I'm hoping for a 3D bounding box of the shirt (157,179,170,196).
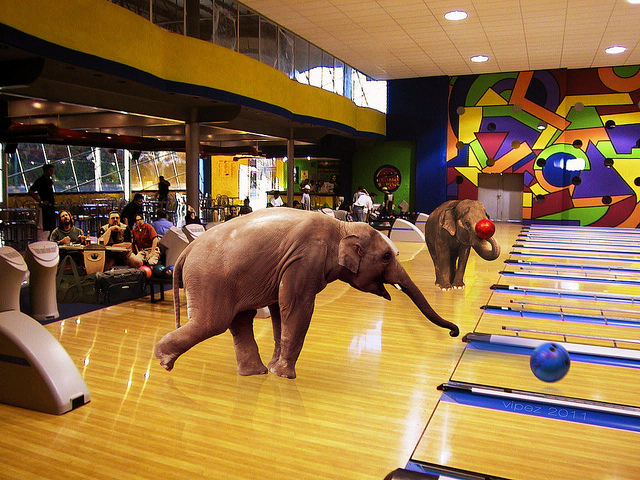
[{"bbox_3d":[-4.600,-1.533,14.458,0.273,0.458,0.688,-2,9,-19],"label":"shirt"}]

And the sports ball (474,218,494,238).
[{"bbox_3d":[2.229,-0.145,6.618,0.244,0.243,0.316,3,8,19],"label":"sports ball"}]

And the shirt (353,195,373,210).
[{"bbox_3d":[1.398,-1.215,15.402,0.612,0.425,0.671,4,24,16],"label":"shirt"}]

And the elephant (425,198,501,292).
[{"bbox_3d":[2.129,0.060,7.440,0.685,1.446,1.600,-2,5,-18],"label":"elephant"}]

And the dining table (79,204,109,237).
[{"bbox_3d":[-6.855,-0.609,14.813,0.764,0.939,0.735,2,18,-5],"label":"dining table"}]

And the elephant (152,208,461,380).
[{"bbox_3d":[-0.179,0.445,4.523,2.418,1.631,0.929,2,12,-12],"label":"elephant"}]

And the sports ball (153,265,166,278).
[{"bbox_3d":[-2.323,0.460,7.083,0.142,0.212,0.159,1,0,6],"label":"sports ball"}]

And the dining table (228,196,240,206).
[{"bbox_3d":[-4.346,-2.107,24.743,0.381,0.363,3.774,-1,9,-8],"label":"dining table"}]

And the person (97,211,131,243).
[{"bbox_3d":[-3.643,-0.146,8.696,0.497,0.760,0.757,-5,12,-37],"label":"person"}]

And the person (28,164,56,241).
[{"bbox_3d":[-5.855,-0.888,10.351,0.443,1.415,1.180,-4,9,-31],"label":"person"}]

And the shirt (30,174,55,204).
[{"bbox_3d":[-5.785,-1.071,10.410,0.669,0.699,0.252,-11,10,-42],"label":"shirt"}]

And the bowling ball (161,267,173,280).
[{"bbox_3d":[-2.187,0.491,6.979,0.183,0.169,0.165,0,-7,22],"label":"bowling ball"}]

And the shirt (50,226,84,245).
[{"bbox_3d":[-4.165,-0.056,8.042,0.469,0.255,0.451,-4,10,-29],"label":"shirt"}]

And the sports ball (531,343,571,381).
[{"bbox_3d":[2.046,1.071,4.383,0.298,0.416,0.315,0,2,0],"label":"sports ball"}]
